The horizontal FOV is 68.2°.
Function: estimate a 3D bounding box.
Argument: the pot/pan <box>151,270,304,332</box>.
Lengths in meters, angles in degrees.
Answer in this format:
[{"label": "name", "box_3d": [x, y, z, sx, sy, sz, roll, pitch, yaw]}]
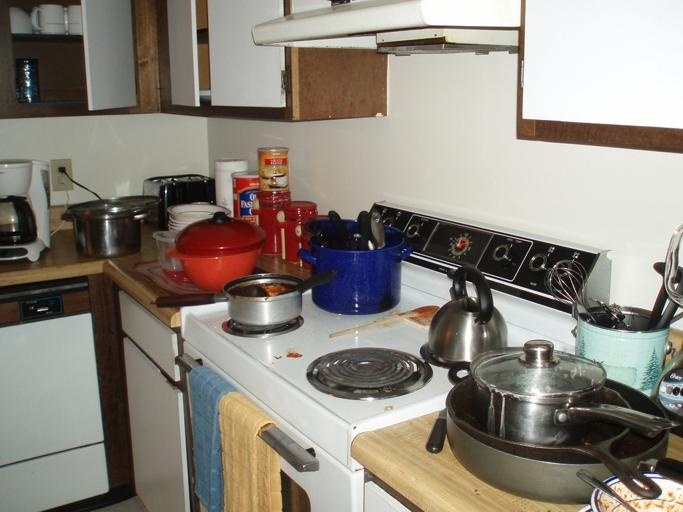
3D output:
[{"label": "pot/pan", "box_3d": [-0.303, 0.123, 1.409, 0.352, 0.093, 0.166, -7, 14, -10]}]

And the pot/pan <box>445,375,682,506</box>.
[{"label": "pot/pan", "box_3d": [0.368, 0.293, 0.903, 0.348, 0.141, 0.318, 8, 17, 34]}]

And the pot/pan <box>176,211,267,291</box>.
[{"label": "pot/pan", "box_3d": [-0.398, -0.030, 1.696, 0.302, 0.186, 0.243, -11, 27, -26]}]

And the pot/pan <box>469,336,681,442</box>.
[{"label": "pot/pan", "box_3d": [0.356, 0.216, 0.823, 0.179, 0.108, 0.274, -10, 17, -32]}]

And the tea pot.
[{"label": "tea pot", "box_3d": [0.287, 0.128, 1.203, 0.198, 0.233, 0.112, 3, 16, 20]}]

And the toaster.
[{"label": "toaster", "box_3d": [-0.795, -0.313, 2.562, 0.313, 0.176, 0.213, -14, 24, -30]}]

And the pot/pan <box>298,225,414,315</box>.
[{"label": "pot/pan", "box_3d": [0.047, 0.068, 1.547, 0.315, 0.173, 0.280, -7, 20, -19]}]

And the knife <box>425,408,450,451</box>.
[{"label": "knife", "box_3d": [0.176, 0.315, 0.956, 0.025, 0.023, 0.091, 5, 27, 16]}]
